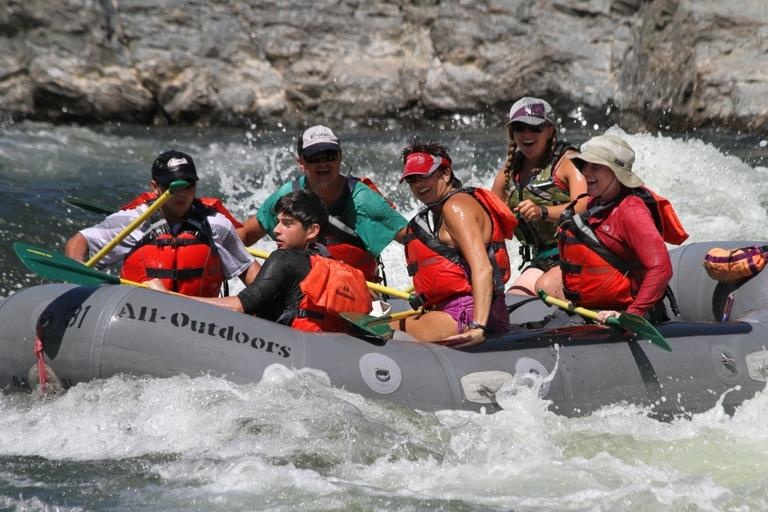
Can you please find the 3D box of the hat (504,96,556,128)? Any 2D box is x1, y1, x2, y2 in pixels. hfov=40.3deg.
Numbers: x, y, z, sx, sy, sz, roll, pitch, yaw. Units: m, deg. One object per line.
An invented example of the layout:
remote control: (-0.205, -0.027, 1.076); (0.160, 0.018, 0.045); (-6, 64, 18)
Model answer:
hat: (1.638, -1.575, 11.569); (0.530, 0.298, 0.361); (2, 29, 0)

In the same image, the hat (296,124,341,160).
hat: (-0.707, -1.261, 11.294); (0.480, 0.311, 0.602); (-6, 11, -25)

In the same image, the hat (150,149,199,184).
hat: (-2.140, -0.929, 10.692); (0.435, 0.292, 0.561); (-6, 16, -22)

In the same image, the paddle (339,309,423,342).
paddle: (-0.109, 0.646, 10.433); (0.633, 0.291, 0.106); (-35, 45, 1)

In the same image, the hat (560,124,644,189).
hat: (2.223, -0.990, 10.495); (0.589, 0.317, 0.572); (-7, 31, -25)

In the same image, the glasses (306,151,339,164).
glasses: (-0.644, -1.053, 11.149); (0.217, 0.064, 0.183); (-13, -8, -7)

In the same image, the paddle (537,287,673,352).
paddle: (2.294, 0.664, 10.705); (1.311, 0.297, 0.147); (19, 46, 28)
